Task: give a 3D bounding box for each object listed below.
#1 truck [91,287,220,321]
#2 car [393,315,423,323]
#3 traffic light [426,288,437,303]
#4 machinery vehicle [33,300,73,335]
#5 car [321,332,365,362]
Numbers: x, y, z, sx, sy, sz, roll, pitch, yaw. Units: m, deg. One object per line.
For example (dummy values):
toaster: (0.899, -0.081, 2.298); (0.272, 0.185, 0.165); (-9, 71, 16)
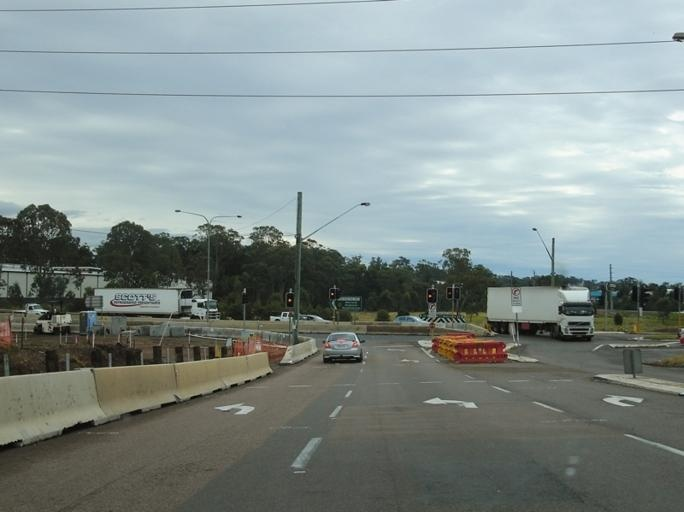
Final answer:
truck: (-17.695, 4.746, 71.383); (14.300, 3.872, 3.539); (0, -1, 5)
car: (6.183, 6.124, 71.903); (1.561, 0.717, 0.952); (-3, -2, 11)
traffic light: (6.564, 3.015, 55.640); (0.640, 1.160, 1.200); (-1, -6, 3)
machinery vehicle: (-23.422, 5.055, 61.353); (4.362, 2.728, 2.882); (0, -3, 31)
car: (0.011, 4.215, 34.649); (1.682, 1.327, 1.435); (-1, -7, -5)
